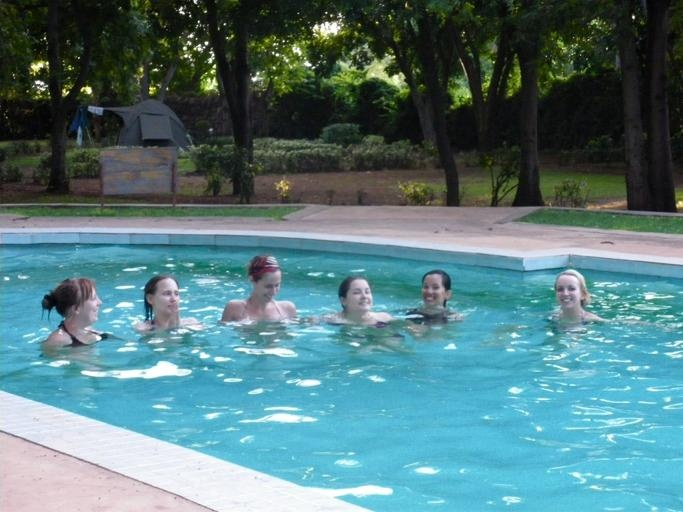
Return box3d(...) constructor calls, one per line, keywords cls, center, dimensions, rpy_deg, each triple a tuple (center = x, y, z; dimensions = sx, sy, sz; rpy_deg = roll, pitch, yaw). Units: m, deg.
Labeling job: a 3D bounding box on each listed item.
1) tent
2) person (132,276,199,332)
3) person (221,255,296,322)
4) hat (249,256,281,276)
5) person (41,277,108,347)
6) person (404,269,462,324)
box3d(cls="tent", center=(-6.588, -4.357, 23.120), dimensions=(2.784, 0.975, 1.828), rpy_deg=(-1, 16, -17))
box3d(cls="person", center=(-1.819, 0.491, 7.053), dimensions=(0.452, 0.522, 0.770), rpy_deg=(-2, -1, 43))
box3d(cls="person", center=(-0.880, 0.396, 7.514), dimensions=(1.002, 0.682, 0.489), rpy_deg=(0, 0, -28))
box3d(cls="hat", center=(-0.800, 0.093, 6.941), dimensions=(0.300, 0.222, 0.188), rpy_deg=(-2, 15, -4))
box3d(cls="person", center=(-2.624, 0.545, 6.631), dimensions=(0.588, 0.586, 0.783), rpy_deg=(0, 3, 11))
box3d(cls="person", center=(1.009, 0.432, 7.644), dimensions=(0.559, 0.618, 0.454), rpy_deg=(1, 16, 6))
